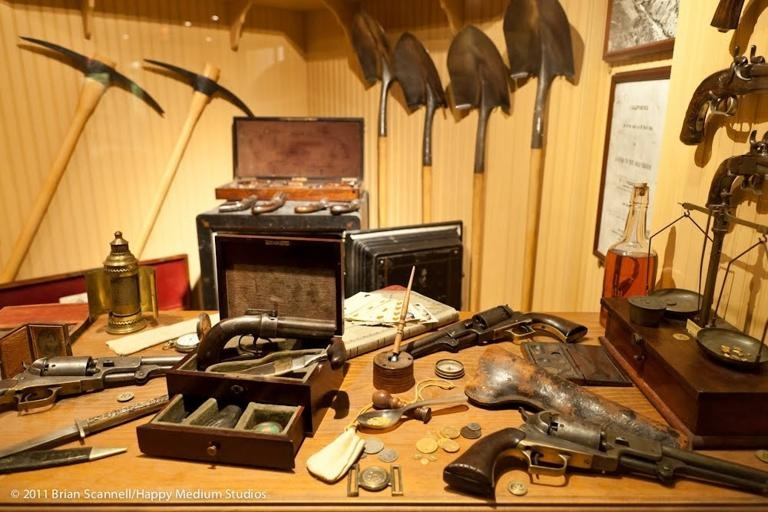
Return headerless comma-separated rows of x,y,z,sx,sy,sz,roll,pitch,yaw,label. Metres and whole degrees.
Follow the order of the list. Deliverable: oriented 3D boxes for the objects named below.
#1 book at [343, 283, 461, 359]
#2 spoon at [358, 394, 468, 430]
-0.035,0.322,3.068,0.409,0.057,0.398,-16,20,-40,book
0.127,0.696,2.480,0.480,0.071,0.115,-15,5,-3,spoon
